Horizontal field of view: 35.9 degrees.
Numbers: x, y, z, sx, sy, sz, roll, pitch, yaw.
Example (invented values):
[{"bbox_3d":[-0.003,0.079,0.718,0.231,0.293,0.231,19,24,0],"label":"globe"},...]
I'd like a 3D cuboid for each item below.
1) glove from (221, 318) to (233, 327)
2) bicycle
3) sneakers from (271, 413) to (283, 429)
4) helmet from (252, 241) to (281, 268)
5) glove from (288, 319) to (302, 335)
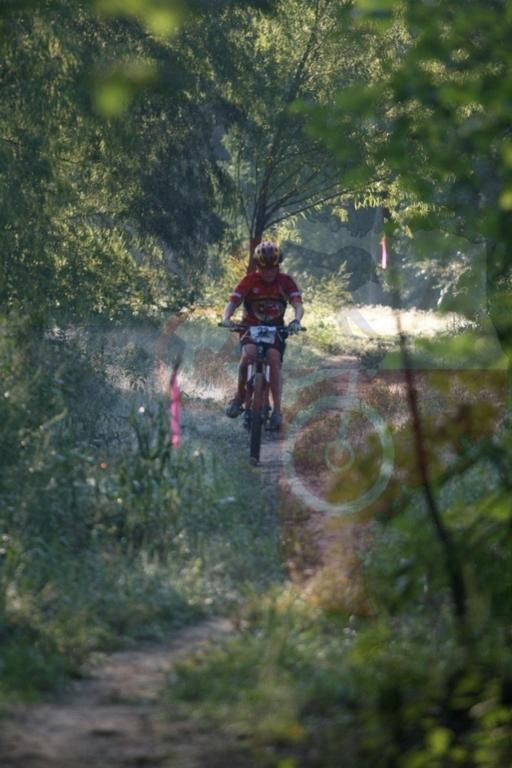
[{"bbox_3d":[-0.271,-0.535,7.011,0.072,0.024,0.074,28,42,28],"label":"glove"},{"bbox_3d":[0.002,0.060,7.202,0.682,1.366,0.675,2,12,-13],"label":"bicycle"},{"bbox_3d":[0.169,0.342,7.015,0.092,0.150,0.089,3,12,-8],"label":"sneakers"},{"bbox_3d":[0.095,-1.198,7.154,0.184,0.237,0.253,1,42,-2],"label":"helmet"},{"bbox_3d":[0.341,-0.524,6.928,0.107,0.057,0.144,1,-20,2],"label":"glove"}]
